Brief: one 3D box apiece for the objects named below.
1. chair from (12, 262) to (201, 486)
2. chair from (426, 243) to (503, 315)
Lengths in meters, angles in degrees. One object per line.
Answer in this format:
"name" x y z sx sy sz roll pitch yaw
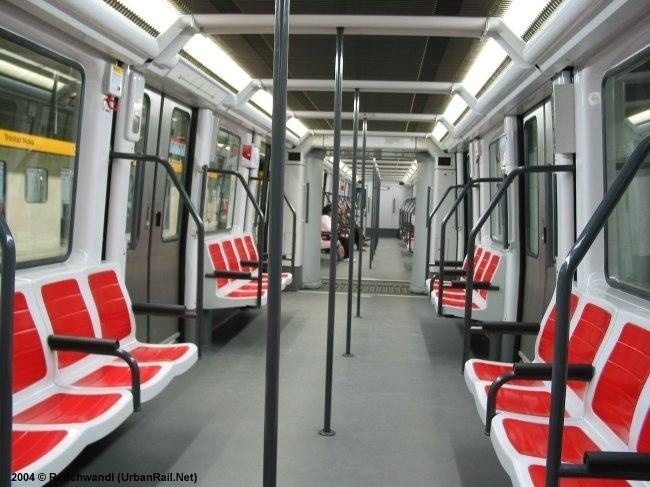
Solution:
"chair" -1.544 0.632 3.282 0.839 0.804 1.319 3 6 12
"chair" 1.739 0.149 5.760 0.697 0.877 1.294 1 2 4
